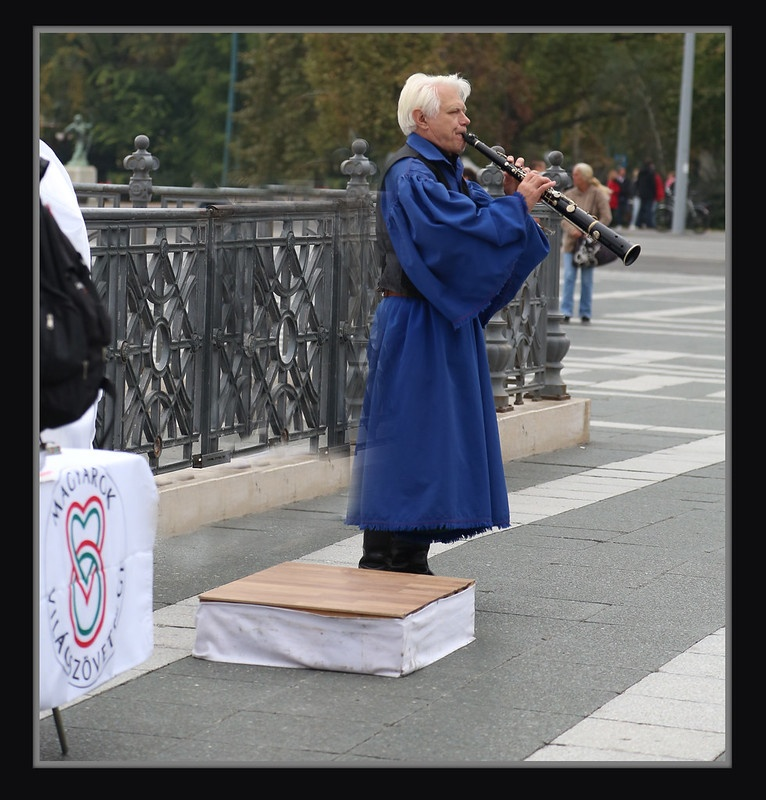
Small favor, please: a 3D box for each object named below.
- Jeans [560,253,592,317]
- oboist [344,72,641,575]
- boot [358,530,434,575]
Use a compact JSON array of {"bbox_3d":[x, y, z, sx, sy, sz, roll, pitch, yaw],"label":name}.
[{"bbox_3d":[1.448,-0.848,12.797,0.245,0.152,0.657,6,56,2],"label":"Jeans"},{"bbox_3d":[0.201,-0.229,5.687,0.711,1.684,0.391,-3,10,-2],"label":"oboist"},{"bbox_3d":[0.033,0.516,5.815,0.217,0.238,0.136,1,2,5],"label":"boot"}]
